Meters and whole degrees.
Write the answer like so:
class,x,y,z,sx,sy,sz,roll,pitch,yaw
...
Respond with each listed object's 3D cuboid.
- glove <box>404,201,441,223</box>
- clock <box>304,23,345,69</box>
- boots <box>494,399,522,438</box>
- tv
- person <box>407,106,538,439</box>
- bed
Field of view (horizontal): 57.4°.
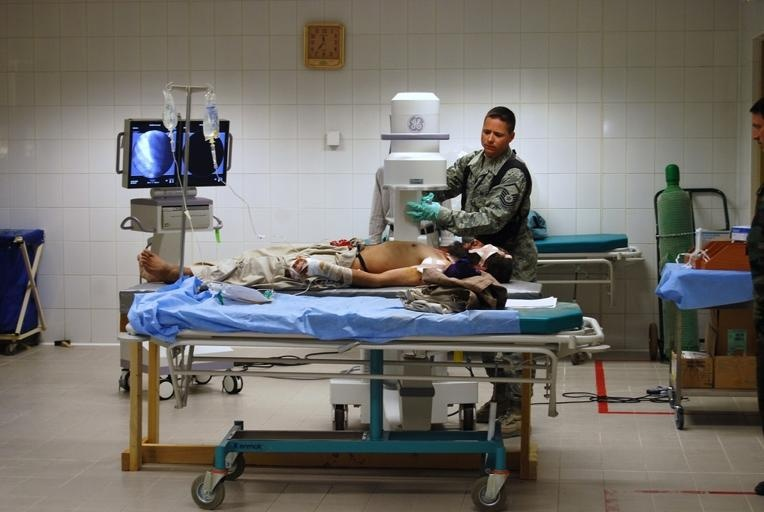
class,x,y,z,sx,sy,sz,roll,pitch,yaw
glove,0.257,-0.281,4.487,0.179,0.126,0.072,6,46,-3
clock,-0.549,-2.035,6.692,0.460,0.464,0.095,0,0,4
boots,0.924,1.190,5.042,0.151,0.185,0.492,-1,-6,6
tv,-1.673,-0.828,5.596,0.850,0.459,0.104,0,19,-10
person,0.740,0.023,5.424,1.036,2.157,0.742,-5,20,9
bed,-0.179,0.755,4.121,2.824,1.337,1.031,3,11,16
